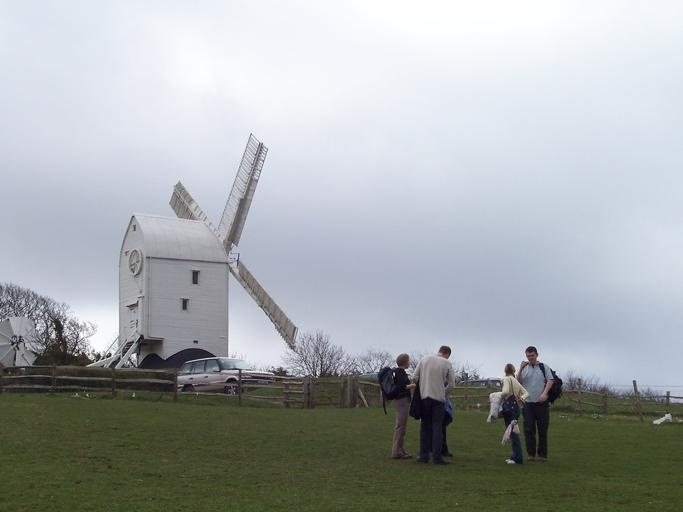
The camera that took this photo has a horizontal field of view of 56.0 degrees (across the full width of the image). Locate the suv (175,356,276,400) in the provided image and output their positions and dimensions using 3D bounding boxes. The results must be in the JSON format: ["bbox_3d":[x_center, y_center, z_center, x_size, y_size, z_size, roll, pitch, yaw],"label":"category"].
[{"bbox_3d":[-6.146,6.205,33.602,3.440,2.023,7.612,9,-15,-29],"label":"suv"}]

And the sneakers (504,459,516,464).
[{"bbox_3d":[3.751,4.568,14.323,0.157,0.098,0.367,6,-13,-17],"label":"sneakers"}]

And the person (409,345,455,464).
[{"bbox_3d":[2.050,3.386,14.262,0.989,2.357,0.578,-9,-15,41],"label":"person"}]

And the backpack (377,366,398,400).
[{"bbox_3d":[1.061,2.880,14.642,0.393,0.717,0.553,1,-12,3],"label":"backpack"}]

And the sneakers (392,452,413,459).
[{"bbox_3d":[1.401,4.598,14.853,0.452,0.212,0.160,-3,-4,8],"label":"sneakers"}]
